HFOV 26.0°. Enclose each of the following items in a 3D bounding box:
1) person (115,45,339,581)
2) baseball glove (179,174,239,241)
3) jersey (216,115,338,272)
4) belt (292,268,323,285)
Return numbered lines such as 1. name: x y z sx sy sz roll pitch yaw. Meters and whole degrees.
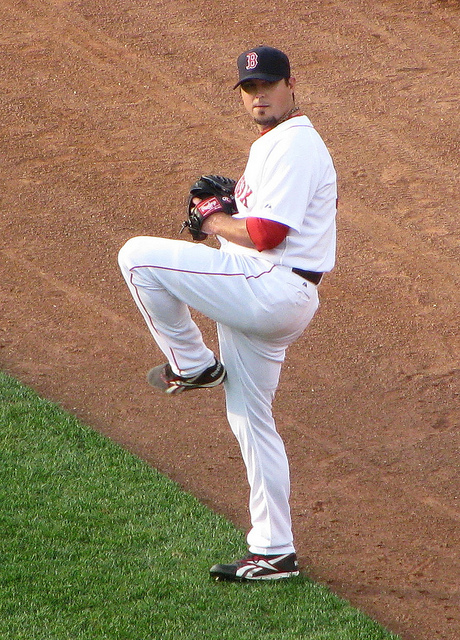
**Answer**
1. person: 0.037 0.047 5.455 1.002 2.814 1.276 2 32 9
2. baseball glove: -0.098 -0.674 5.510 0.404 0.284 0.189 -43 41 -19
3. jersey: 0.233 -0.719 5.552 0.728 0.773 1.087 1 11 -16
4. belt: 0.403 -0.240 5.213 0.111 0.039 0.095 19 9 -15
